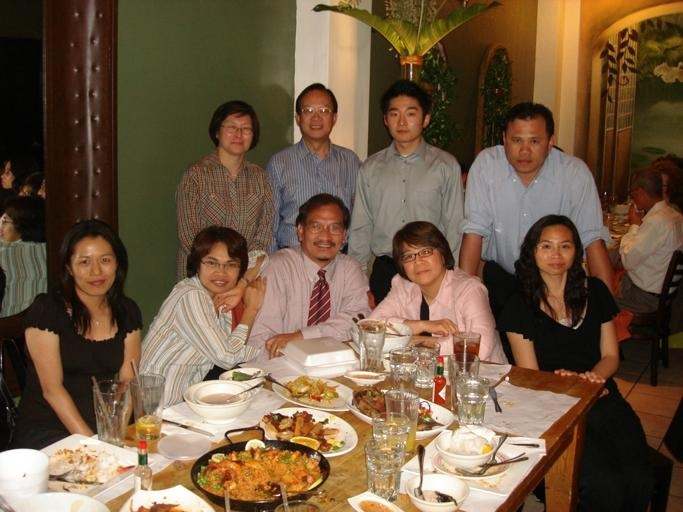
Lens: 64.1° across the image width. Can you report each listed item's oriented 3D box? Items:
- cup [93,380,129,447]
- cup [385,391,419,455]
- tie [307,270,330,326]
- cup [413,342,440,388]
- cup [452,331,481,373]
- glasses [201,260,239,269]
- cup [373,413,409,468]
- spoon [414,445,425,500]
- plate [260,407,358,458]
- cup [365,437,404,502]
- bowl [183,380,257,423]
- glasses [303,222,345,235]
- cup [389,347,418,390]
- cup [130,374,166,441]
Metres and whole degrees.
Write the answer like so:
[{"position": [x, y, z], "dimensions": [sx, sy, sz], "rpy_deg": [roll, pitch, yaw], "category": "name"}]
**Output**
[{"position": [-0.761, 0.532, 1.807], "dimensions": [0.114, 0.197, 0.118], "rpy_deg": [-5, -11, -1], "category": "cup"}, {"position": [0.193, 0.545, 1.793], "dimensions": [0.119, 0.207, 0.129], "rpy_deg": [0, -4, 0], "category": "cup"}, {"position": [-0.119, 0.253, 3.241], "dimensions": [0.125, 0.032, 0.407], "rpy_deg": [-1, 48, 3], "category": "tie"}, {"position": [0.364, 0.460, 2.227], "dimensions": [0.136, 0.165, 0.133], "rpy_deg": [7, -15, 2], "category": "cup"}, {"position": [0.515, 0.413, 2.258], "dimensions": [0.112, 0.193, 0.119], "rpy_deg": [4, -5, 0], "category": "cup"}, {"position": [-0.590, 0.041, 2.682], "dimensions": [0.169, 0.052, 0.037], "rpy_deg": [-5, 9, -14], "category": "glasses"}, {"position": [0.154, 0.563, 1.661], "dimensions": [0.107, 0.127, 0.108], "rpy_deg": [1, -7, 0], "category": "cup"}, {"position": [0.233, 0.630, 1.623], "dimensions": [0.025, 0.019, 0.131], "rpy_deg": [12, 37, 0], "category": "spoon"}, {"position": [-0.119, 0.588, 1.766], "dimensions": [0.240, 0.038, 0.254], "rpy_deg": [1, -9, -17], "category": "plate"}, {"position": [0.124, 0.611, 1.557], "dimensions": [0.110, 0.172, 0.115], "rpy_deg": [-1, 16, 0], "category": "cup"}, {"position": [-0.440, 0.516, 1.997], "dimensions": [0.178, 0.071, 0.138], "rpy_deg": [-3, 12, -33], "category": "bowl"}, {"position": [-0.092, -0.154, 3.104], "dimensions": [0.209, 0.068, 0.051], "rpy_deg": [-3, 8, -2], "category": "glasses"}, {"position": [0.233, 0.424, 2.022], "dimensions": [0.139, 0.172, 0.147], "rpy_deg": [1, -2, 0], "category": "cup"}, {"position": [-0.639, 0.501, 1.812], "dimensions": [0.111, 0.207, 0.135], "rpy_deg": [-4, 9, -12], "category": "cup"}]
